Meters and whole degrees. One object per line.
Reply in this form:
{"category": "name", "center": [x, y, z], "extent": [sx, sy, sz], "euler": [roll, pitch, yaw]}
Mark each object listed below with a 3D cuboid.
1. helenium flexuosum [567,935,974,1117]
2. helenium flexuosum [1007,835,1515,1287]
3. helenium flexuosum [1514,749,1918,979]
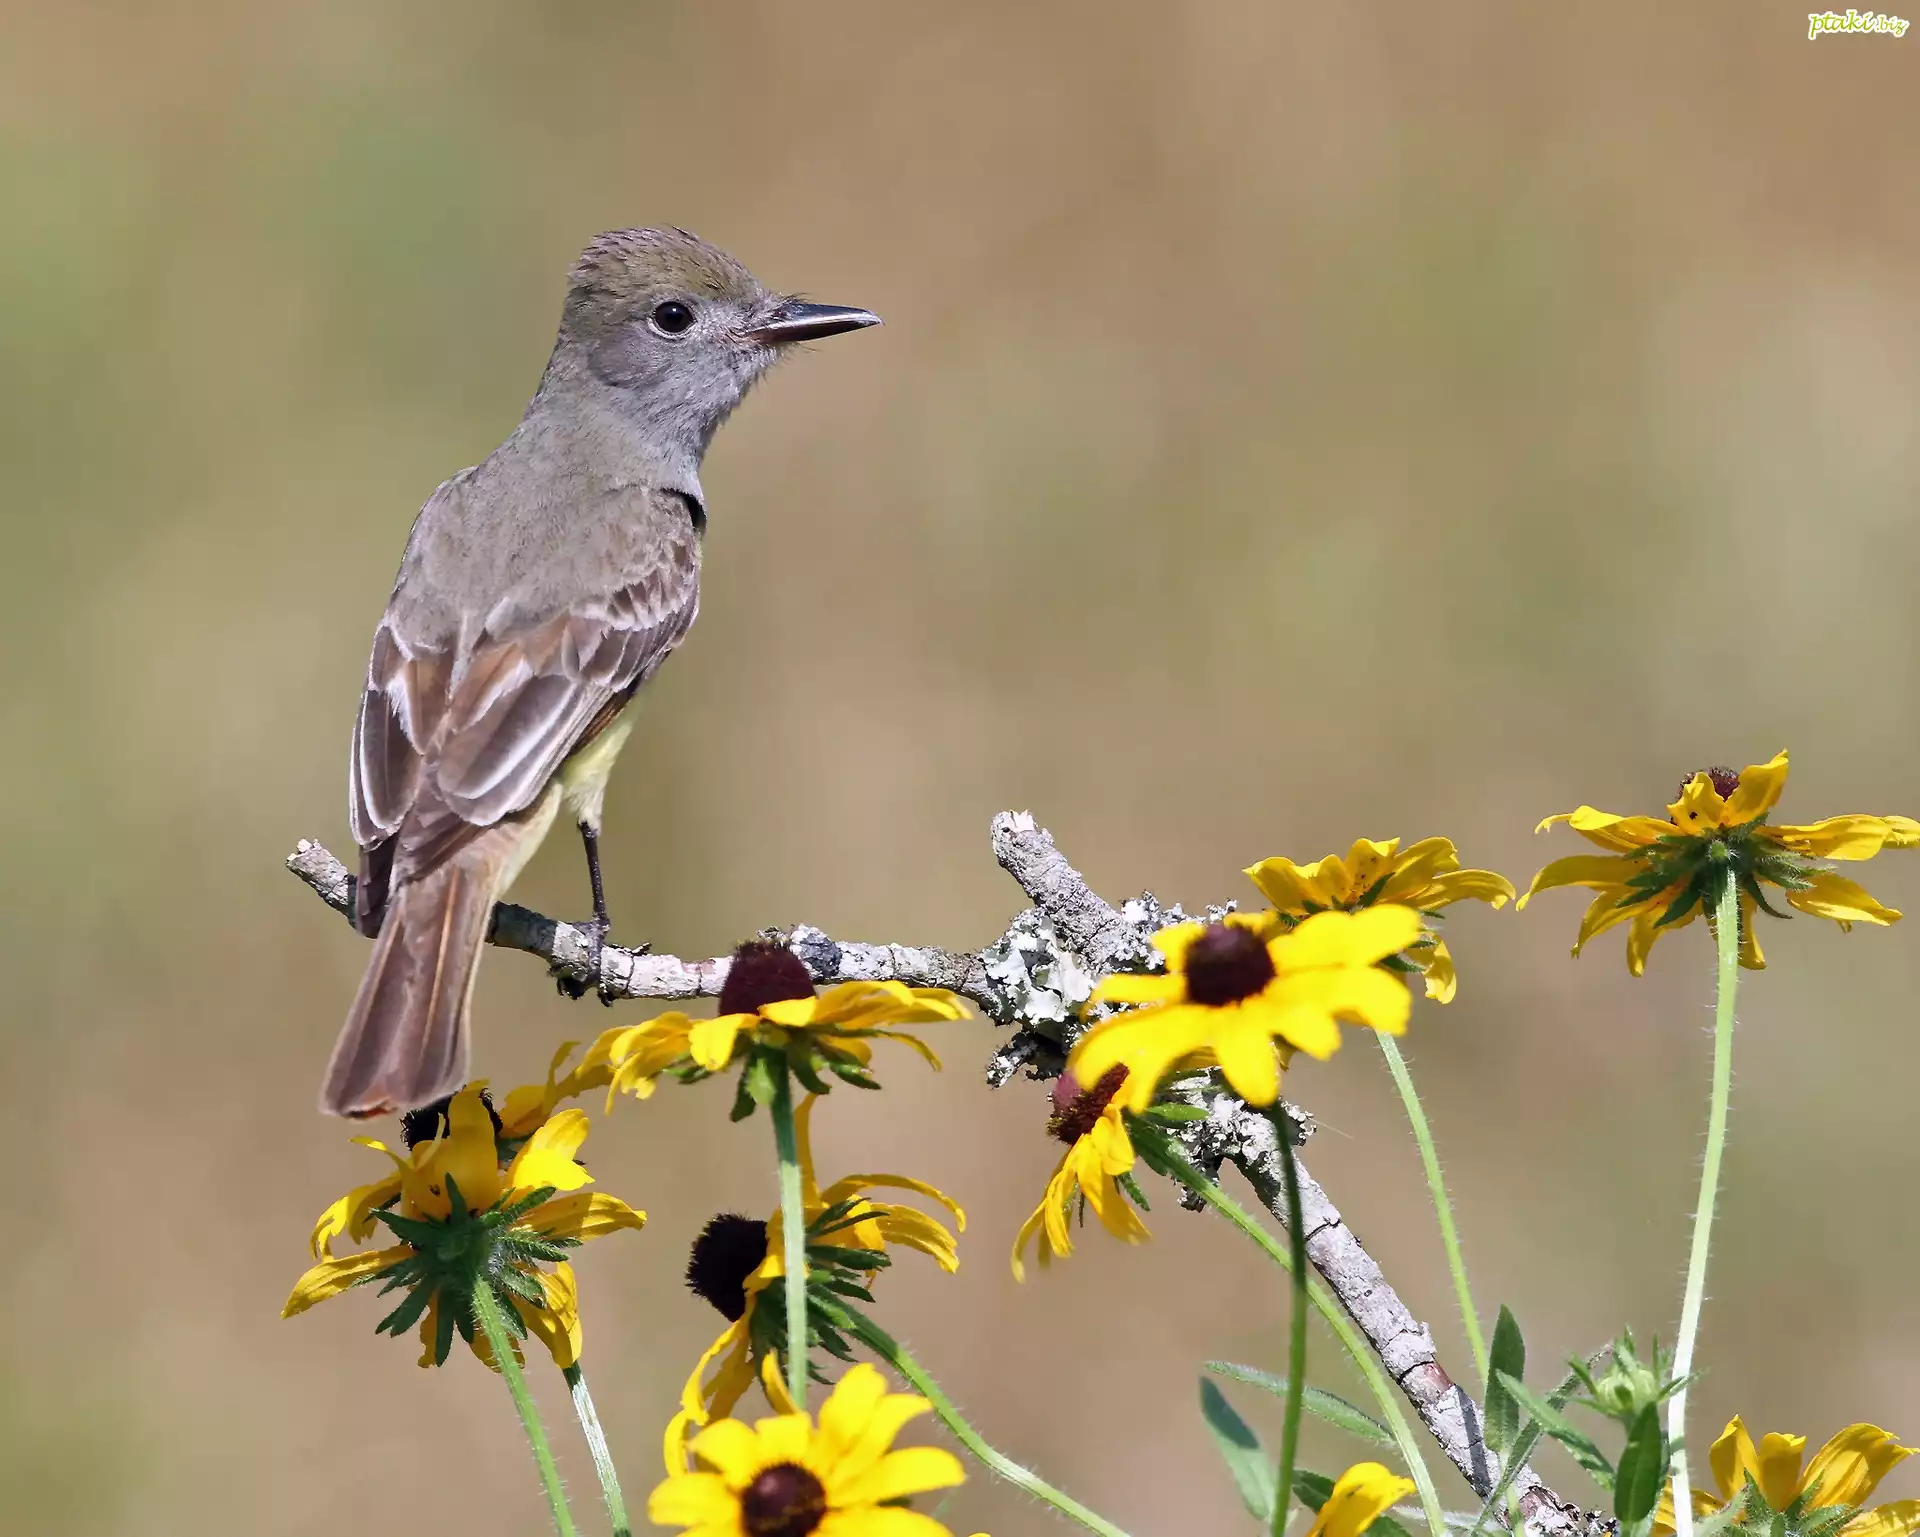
{"category": "helenium flexuosum", "center": [-0.328, 0.391, 3.982], "extent": [0.515, 0.538, 0.269], "euler": [-14, -87, -17]}
{"category": "helenium flexuosum", "center": [0.453, 0.647, 3.931], "extent": [0.654, 0.979, 0.942], "euler": [-1, -78, 2]}
{"category": "helenium flexuosum", "center": [1.403, 0.212, 4.501], "extent": [0.736, 0.407, 0.790], "euler": [-3, -13, 22]}
